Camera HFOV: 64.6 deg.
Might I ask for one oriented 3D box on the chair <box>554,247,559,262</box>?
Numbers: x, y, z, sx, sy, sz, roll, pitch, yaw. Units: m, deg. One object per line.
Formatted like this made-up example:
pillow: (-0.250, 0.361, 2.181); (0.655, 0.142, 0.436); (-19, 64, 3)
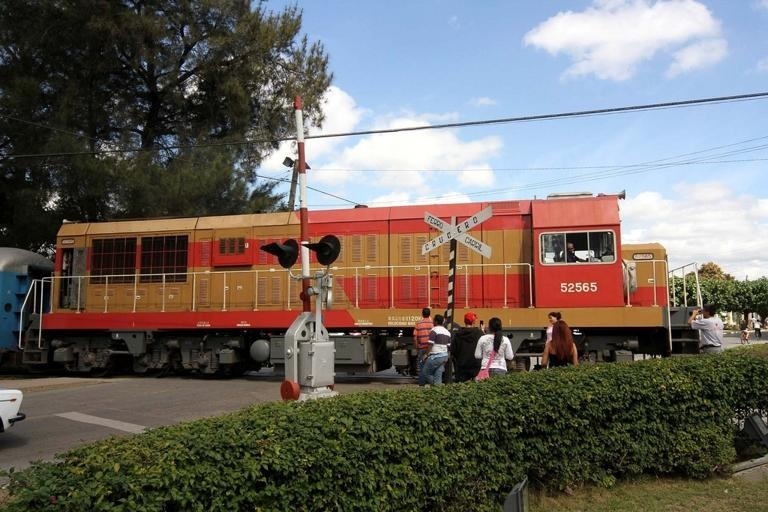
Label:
chair: (4.737, -0.036, 16.649); (0.190, 0.291, 0.100); (-1, -4, 32)

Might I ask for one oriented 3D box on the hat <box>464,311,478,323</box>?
hat: (1.969, 1.404, 13.767); (0.264, 0.206, 0.388); (2, 12, 23)

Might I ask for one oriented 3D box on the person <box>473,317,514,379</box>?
person: (2.362, 1.998, 13.032); (0.771, 1.290, 0.964); (0, 12, 8)

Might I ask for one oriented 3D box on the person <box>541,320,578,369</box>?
person: (3.800, 1.948, 13.111); (0.683, 1.068, 0.695); (2, 12, 19)

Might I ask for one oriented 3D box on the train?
train: (-1.869, 1.271, 18.508); (20.400, 6.185, 1.883); (1, 12, 12)

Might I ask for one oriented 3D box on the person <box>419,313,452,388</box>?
person: (1.196, 2.260, 14.051); (0.719, 1.690, 0.829); (-1, 11, 2)
